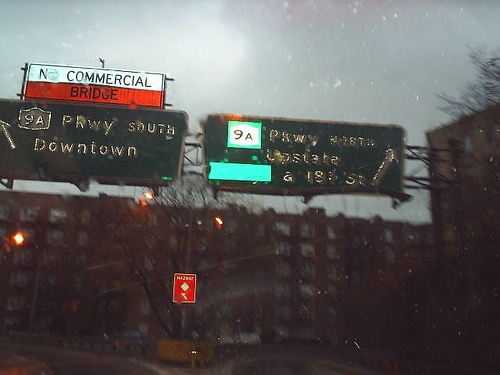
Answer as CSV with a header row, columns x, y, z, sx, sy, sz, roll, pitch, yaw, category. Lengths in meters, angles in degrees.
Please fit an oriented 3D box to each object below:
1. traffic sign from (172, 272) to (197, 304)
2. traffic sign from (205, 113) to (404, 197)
x,y,z,sx,sy,sz,roll,pitch,yaw,category
-0.618,0.920,6.601,0.231,0.325,0.023,1,-7,-10,traffic sign
0.503,-0.312,6.831,1.928,0.543,0.532,0,34,-6,traffic sign
